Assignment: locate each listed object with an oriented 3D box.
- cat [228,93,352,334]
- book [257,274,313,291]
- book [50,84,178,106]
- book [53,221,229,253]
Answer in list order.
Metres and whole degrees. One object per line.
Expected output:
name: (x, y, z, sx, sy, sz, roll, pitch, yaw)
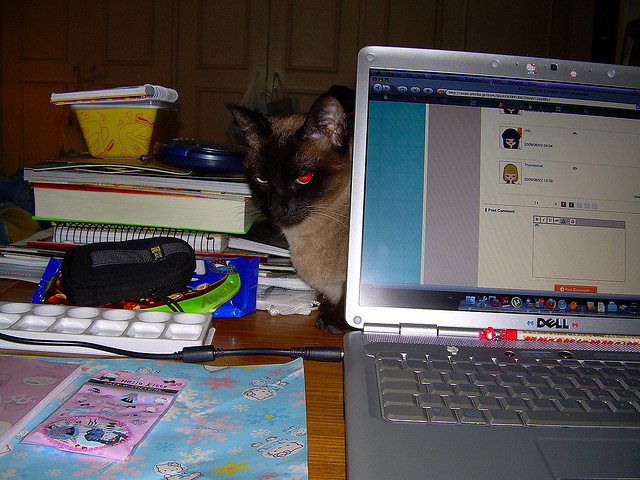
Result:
cat: (-0.066, -0.075, 1.003, 0.244, 0.389, 0.321, 2, 15, 0)
book: (-0.072, 0.084, 1.039, 0.106, 0.032, 0.027, -1, 15, -13)
book: (-0.447, -0.301, 1.110, 0.250, 0.049, 0.124, 3, 16, 3)
book: (-0.344, -0.006, 0.989, 0.200, 0.035, 0.035, 5, 14, 0)
